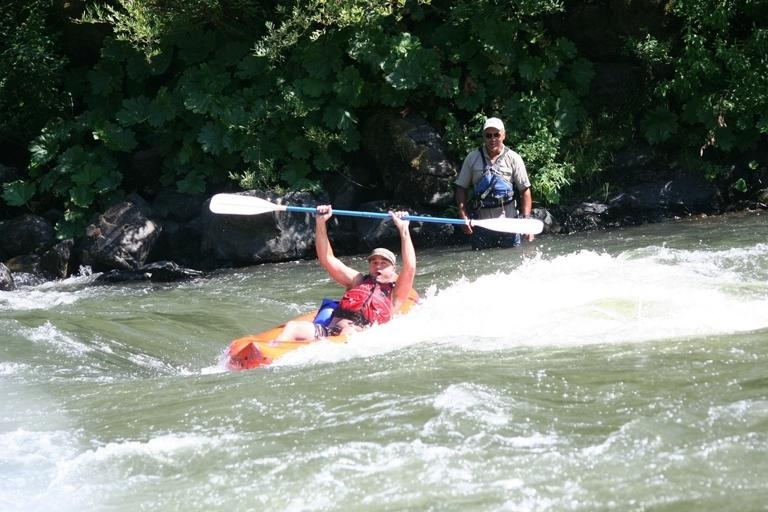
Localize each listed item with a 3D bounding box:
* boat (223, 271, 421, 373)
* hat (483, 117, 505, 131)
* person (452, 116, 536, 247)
[{"bbox_3d":[-0.828,0.869,9.941,0.845,0.643,1.938,5,19,43],"label":"boat"},{"bbox_3d":[1.610,-1.929,12.768,0.223,0.182,0.325,-4,1,39],"label":"hat"},{"bbox_3d":[1.643,-0.707,13.256,1.254,2.726,0.829,-2,26,5],"label":"person"}]
